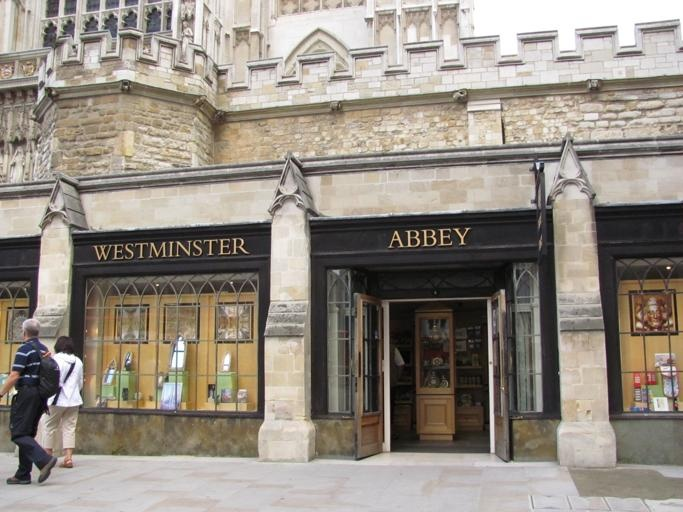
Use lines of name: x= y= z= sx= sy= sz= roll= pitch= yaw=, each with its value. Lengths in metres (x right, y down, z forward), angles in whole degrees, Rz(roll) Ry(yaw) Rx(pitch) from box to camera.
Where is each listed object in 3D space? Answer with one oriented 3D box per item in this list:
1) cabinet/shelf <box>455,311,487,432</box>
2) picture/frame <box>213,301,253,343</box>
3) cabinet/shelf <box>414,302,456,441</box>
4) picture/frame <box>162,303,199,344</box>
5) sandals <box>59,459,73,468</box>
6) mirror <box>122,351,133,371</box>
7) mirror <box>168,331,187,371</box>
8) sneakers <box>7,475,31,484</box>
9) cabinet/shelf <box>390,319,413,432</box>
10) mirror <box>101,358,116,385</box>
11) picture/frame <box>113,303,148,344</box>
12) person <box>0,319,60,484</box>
cabinet/shelf: x=3.111 y=2.582 z=16.671 sx=0.769 sy=2.903 sz=0.921 roll=-1 pitch=-4 yaw=10
picture/frame: x=-1.983 y=1.258 z=13.311 sx=0.724 sy=0.740 sz=0.737 roll=-1 pitch=-9 yaw=9
cabinet/shelf: x=2.025 y=2.499 z=15.097 sx=0.823 sy=2.737 sz=0.669 roll=-1 pitch=-4 yaw=6
picture/frame: x=-3.069 y=1.286 z=13.257 sx=0.756 sy=0.764 sz=0.075 roll=-2 pitch=-14 yaw=11
sandals: x=-4.644 y=3.454 z=11.706 sx=0.123 sy=0.113 sz=0.262 roll=1 pitch=-4 yaw=-7
mirror: x=-4.166 y=2.011 z=13.474 sx=0.193 sy=0.345 sz=0.026 roll=-2 pitch=-4 yaw=15
mirror: x=-3.129 y=1.819 z=13.214 sx=0.349 sy=0.688 sz=0.073 roll=-2 pitch=-4 yaw=22
sneakers: x=-4.881 y=3.342 z=10.528 sx=0.345 sy=0.146 sz=0.133 roll=3 pitch=-9 yaw=4
cabinet/shelf: x=1.408 y=2.749 z=16.164 sx=0.542 sy=2.518 sz=1.798 roll=-1 pitch=-4 yaw=5
mirror: x=-4.547 y=2.228 z=13.496 sx=0.257 sy=0.475 sz=0.113 roll=1 pitch=-7 yaw=18
picture/frame: x=-4.105 y=1.311 z=13.498 sx=0.752 sy=0.727 sz=0.060 roll=-2 pitch=-11 yaw=15
person: x=-4.691 y=2.329 z=10.378 sx=0.731 sy=2.134 sz=0.595 roll=0 pitch=-4 yaw=-16
